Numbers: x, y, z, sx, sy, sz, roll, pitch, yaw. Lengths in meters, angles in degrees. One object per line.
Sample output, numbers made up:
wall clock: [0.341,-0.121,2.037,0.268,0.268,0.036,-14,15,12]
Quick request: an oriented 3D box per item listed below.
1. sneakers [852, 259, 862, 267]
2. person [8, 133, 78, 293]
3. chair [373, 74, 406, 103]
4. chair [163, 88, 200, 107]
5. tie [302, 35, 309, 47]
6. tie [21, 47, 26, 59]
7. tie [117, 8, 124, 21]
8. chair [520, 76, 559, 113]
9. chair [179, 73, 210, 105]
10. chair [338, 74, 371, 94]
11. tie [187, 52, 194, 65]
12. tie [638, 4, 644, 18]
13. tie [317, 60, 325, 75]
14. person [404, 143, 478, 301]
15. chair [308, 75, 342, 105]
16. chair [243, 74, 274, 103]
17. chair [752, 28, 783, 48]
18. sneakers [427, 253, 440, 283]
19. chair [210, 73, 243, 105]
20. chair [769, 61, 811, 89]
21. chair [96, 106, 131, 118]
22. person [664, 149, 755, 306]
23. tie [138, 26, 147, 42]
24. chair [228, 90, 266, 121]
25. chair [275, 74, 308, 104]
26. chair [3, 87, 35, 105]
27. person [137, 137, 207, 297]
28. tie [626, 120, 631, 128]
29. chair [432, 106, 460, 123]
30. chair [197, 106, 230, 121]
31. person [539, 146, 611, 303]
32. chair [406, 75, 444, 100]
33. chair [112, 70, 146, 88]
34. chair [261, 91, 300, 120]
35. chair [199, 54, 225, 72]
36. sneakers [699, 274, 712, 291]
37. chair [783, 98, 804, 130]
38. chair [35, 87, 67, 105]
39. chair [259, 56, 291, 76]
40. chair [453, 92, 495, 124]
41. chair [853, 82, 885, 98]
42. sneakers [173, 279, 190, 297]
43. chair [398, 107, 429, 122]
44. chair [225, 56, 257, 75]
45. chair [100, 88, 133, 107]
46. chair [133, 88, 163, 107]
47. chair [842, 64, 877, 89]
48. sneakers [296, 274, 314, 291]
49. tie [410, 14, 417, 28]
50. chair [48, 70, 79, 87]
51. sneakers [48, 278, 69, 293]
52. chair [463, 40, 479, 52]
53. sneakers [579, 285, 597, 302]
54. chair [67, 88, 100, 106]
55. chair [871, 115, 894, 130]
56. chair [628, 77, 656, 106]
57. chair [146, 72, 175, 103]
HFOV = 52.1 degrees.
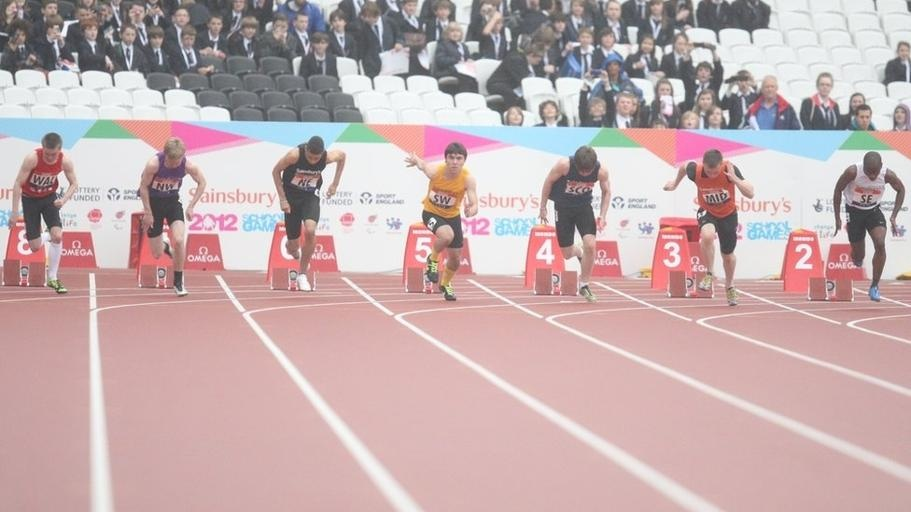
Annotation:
sneakers: [8.198,0.132,18.894,0.191,0.187,0.195,-4,1,4]
person: [-7.535,-0.798,17.059,1.084,2.874,1.248,-8,8,-40]
chair: [-1.622,-4.153,22.937,0.570,0.775,0.658,-1,5,-13]
chair: [-6.365,-3.634,21.564,0.511,0.653,0.526,-2,5,-31]
tie: [-3.697,-5.343,22.995,0.176,0.199,0.052,-19,10,-37]
tie: [-9.982,-4.728,21.521,0.144,0.208,0.053,0,-2,-25]
tie: [-8.145,-5.893,22.533,0.190,0.295,0.078,-5,7,-20]
chair: [2.026,-3.940,22.893,0.805,1.044,0.852,-1,1,-15]
chair: [-6.153,-3.947,21.958,0.723,0.915,0.738,-2,5,-30]
chair: [-2.491,-4.230,22.789,0.542,0.721,0.609,-5,15,-25]
tie: [-6.316,-4.751,22.263,0.172,0.277,0.065,-1,-5,-23]
tie: [5.039,-6.596,24.983,0.210,0.312,0.073,1,-2,9]
tie: [-3.222,-4.551,22.343,0.213,0.287,0.075,1,0,-14]
person: [-0.151,-0.638,17.099,1.175,2.851,0.645,-1,6,12]
chair: [-3.146,-3.970,22.177,0.770,0.897,0.729,-3,9,-26]
chair: [-4.630,-3.942,21.836,0.586,0.730,0.589,-3,5,-33]
chair: [9.005,-6.295,26.903,0.776,0.772,0.648,-2,11,-15]
sneakers: [-0.445,0.234,17.448,0.192,0.574,0.238,-9,6,-37]
chair: [-5.378,-3.965,21.830,0.590,0.756,0.611,-3,8,-28]
chair: [9.320,-5.058,25.616,0.821,1.091,0.890,0,1,-3]
chair: [-7.636,-3.243,20.840,0.682,0.237,0.168,-8,8,-34]
person: [4.846,-0.527,17.132,1.027,2.857,0.765,-2,6,2]
tie: [-7.474,-5.278,22.179,0.259,0.356,0.102,-1,-5,-28]
chair: [-4.765,-3.418,21.163,0.674,0.986,0.822,-2,1,-23]
chair: [-3.807,-3.960,22.044,0.596,0.822,0.671,-2,6,-25]
chair: [-9.905,-3.598,21.115,0.443,0.584,0.490,-5,21,-41]
person: [-5.143,-0.722,16.968,1.080,2.816,1.001,-2,6,3]
tie: [4.048,-3.072,21.604,0.146,0.149,0.371,-1,7,10]
chair: [-0.171,-3.345,22.022,0.594,0.449,0.324,0,11,-5]
chair: [-5.455,-3.219,21.060,0.648,0.363,0.590,-1,10,-17]
person: [2.275,-0.612,17.383,1.266,2.842,1.030,-5,6,-18]
chair: [-0.737,-4.188,23.026,0.576,0.802,0.656,-3,10,-23]
chair: [-7.627,-4.121,21.777,0.704,0.460,0.366,-5,7,-19]
chair: [-4.004,-3.395,21.166,0.704,0.990,0.809,-6,-1,-22]
chair: [-5.819,-4.652,22.384,0.493,0.473,0.443,-2,7,-31]
sneakers: [4.747,0.505,17.559,0.159,0.196,0.459,18,-2,14]
chair: [8.167,-3.341,22.221,0.361,0.601,0.941,2,8,34]
chair: [-9.211,-3.653,21.146,0.661,0.405,0.292,-5,7,-22]
chair: [-4.298,-4.561,22.465,0.534,0.742,0.597,-3,11,-29]
chair: [0.589,-3.586,22.424,0.779,1.006,0.846,-4,2,-22]
chair: [11.285,-4.545,25.342,0.552,0.723,0.594,0,6,-5]
sneakers: [-4.974,0.560,16.878,0.235,0.284,0.576,-5,7,-17]
chair: [-0.928,-3.299,21.813,0.759,0.358,0.390,-3,7,-3]
chair: [-5.177,-4.597,22.518,0.545,0.691,0.557,-6,12,-35]
chair: [-7.821,-3.663,21.468,0.544,0.635,0.522,-3,10,-25]
chair: [-7.111,-3.660,21.522,0.509,0.640,0.512,-2,7,-29]
chair: [11.273,-5.132,26.042,0.823,0.799,0.757,-1,8,-10]
sneakers: [-2.851,0.502,17.583,0.162,0.186,0.441,-6,14,-24]
tie: [-1.048,-5.992,23.764,0.199,0.286,0.119,-13,3,-15]
chair: [-9.088,-4.099,21.503,0.685,0.428,0.350,-5,7,-16]
sneakers: [-7.193,0.544,16.889,0.520,0.226,0.190,26,20,40]
chair: [0.462,-5.449,24.088,0.280,0.220,0.285,-2,9,-6]
sneakers: [2.507,0.795,17.372,0.203,0.456,0.172,-27,27,21]
chair: [-8.540,-3.646,21.314,0.477,0.632,0.529,-2,8,-34]
chair: [10.713,-3.333,23.266,0.411,0.533,0.454,8,16,25]
chair: [4.795,-4.122,23.321,0.629,0.910,0.742,-2,6,-20]
chair: [-6.903,-4.027,21.907,0.534,0.721,0.585,-2,6,-31]
